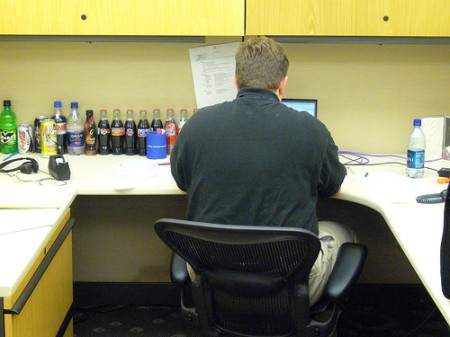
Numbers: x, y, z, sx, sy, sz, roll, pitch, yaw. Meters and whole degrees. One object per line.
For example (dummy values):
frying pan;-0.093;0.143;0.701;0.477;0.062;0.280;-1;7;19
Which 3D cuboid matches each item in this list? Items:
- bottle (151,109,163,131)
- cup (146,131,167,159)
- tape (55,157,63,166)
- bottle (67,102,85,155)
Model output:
bottle;-0.402;-0.287;2.378;0.076;0.121;0.093;-5;11;-10
cup;-0.343;-0.132;2.248;0.140;0.160;0.142;1;4;0
tape;-0.791;-0.034;1.943;0.037;0.023;0.037;-1;8;-13
bottle;-0.874;-0.218;2.367;0.109;0.271;0.099;-3;11;1
